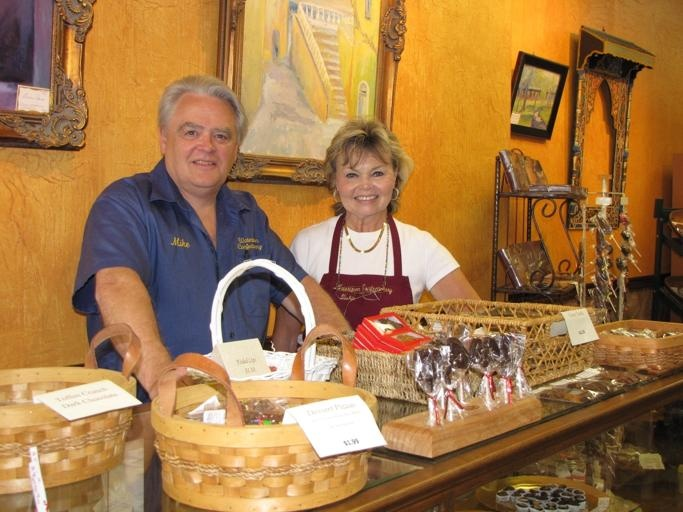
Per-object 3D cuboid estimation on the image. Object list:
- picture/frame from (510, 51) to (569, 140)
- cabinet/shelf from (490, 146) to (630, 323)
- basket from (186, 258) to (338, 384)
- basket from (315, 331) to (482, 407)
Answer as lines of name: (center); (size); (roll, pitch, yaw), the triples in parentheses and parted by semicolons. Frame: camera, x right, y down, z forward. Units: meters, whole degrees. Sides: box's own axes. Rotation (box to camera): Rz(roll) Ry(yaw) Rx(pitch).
picture/frame: (1.678, -1.392, 5.206); (0.071, 0.744, 0.891); (17, 6, 37)
cabinet/shelf: (1.572, -0.187, 4.501); (0.559, 1.658, 1.696); (-2, -1, 30)
basket: (-0.202, 0.212, 1.686); (0.416, 0.404, 0.322); (-4, -6, 40)
basket: (0.103, 0.300, 1.864); (0.345, 0.114, 0.234); (6, -1, 33)
